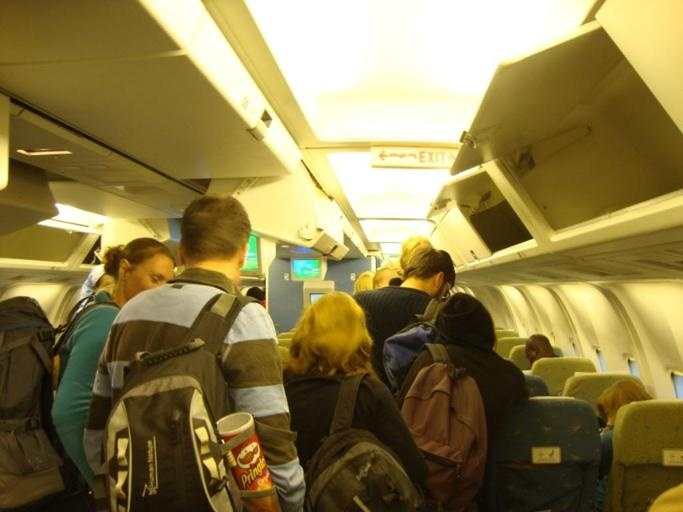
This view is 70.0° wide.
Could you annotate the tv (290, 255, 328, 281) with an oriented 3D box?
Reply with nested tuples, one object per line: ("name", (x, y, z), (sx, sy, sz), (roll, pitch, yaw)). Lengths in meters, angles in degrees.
("tv", (-0.858, 0.245, 13.079), (1.057, 0.716, 0.568), (0, -2, 4))
